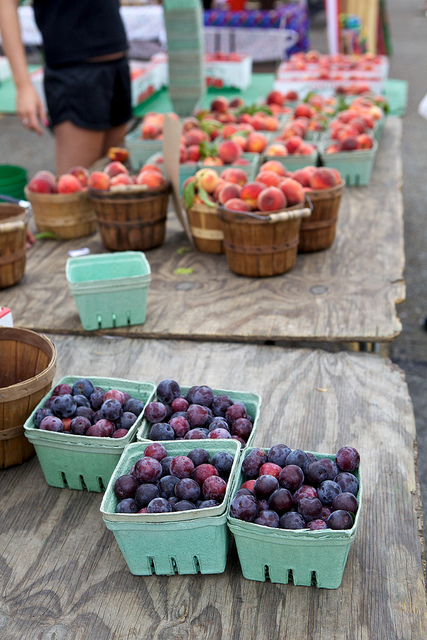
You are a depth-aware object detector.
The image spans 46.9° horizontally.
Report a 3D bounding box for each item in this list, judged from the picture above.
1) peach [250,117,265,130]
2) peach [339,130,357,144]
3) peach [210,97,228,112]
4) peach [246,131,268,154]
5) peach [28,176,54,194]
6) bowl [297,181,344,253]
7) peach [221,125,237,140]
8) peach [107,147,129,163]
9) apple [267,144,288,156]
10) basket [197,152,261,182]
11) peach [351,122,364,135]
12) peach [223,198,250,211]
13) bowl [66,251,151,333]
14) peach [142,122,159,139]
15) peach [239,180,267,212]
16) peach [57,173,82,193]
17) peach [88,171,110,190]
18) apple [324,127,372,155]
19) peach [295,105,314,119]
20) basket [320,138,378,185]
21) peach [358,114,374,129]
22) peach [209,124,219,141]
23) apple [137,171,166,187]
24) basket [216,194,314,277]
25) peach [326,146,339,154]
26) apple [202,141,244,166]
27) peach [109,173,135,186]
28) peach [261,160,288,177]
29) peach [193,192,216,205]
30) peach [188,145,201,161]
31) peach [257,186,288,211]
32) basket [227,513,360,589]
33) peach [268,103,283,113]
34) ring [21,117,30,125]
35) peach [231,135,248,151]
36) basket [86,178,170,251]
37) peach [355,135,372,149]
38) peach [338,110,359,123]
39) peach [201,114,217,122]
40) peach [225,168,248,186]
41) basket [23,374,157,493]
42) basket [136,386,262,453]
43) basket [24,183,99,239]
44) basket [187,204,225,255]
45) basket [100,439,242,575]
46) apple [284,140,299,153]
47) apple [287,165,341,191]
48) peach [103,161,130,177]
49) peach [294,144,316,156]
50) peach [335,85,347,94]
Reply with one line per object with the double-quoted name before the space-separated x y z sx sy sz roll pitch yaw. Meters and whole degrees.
"peach" 0.298 -1.327 3.300 0.084 0.065 0.077 -6 22 -9
"peach" 0.820 -1.131 2.997 0.111 0.085 0.109 -2 30 3
"peach" 0.045 -1.593 3.666 0.117 0.087 0.120 18 57 18
"peach" 0.252 -1.087 2.987 0.144 0.151 0.145 3 33 1
"peach" -0.889 -0.700 2.555 0.126 0.074 0.150 -22 34 -25
"bowl" 0.457 -0.526 2.454 0.302 0.240 0.309 -2 26 1
"peach" 0.095 -1.150 3.072 0.100 0.076 0.101 -9 42 4
"peach" -0.586 -1.029 3.074 0.122 0.088 0.120 10 37 7
"apple" 0.370 -0.981 2.835 0.078 0.082 0.079 -4 16 -13
"basket" 0.098 -0.861 2.722 0.292 0.108 0.234 2 31 7
"peach" 0.913 -1.207 3.097 0.078 0.065 0.085 -4 21 -7
"peach" 0.098 -0.484 2.070 0.085 0.049 0.065 9 8 29
"bowl" -0.389 -0.097 1.856 0.266 0.252 0.338 -5 31 -9
"peach" -0.400 -1.176 3.109 0.097 0.112 0.093 16 -14 -6
"peach" 0.165 -0.539 2.152 0.116 0.138 0.122 -6 64 3
"peach" -0.748 -0.726 2.588 0.128 0.067 0.178 4 32 16
"peach" -0.559 -0.678 2.388 0.102 0.094 0.100 -26 29 -28
"apple" 0.819 -1.135 2.997 0.183 0.075 0.216 -11 27 13
"peach" 0.655 -1.483 3.475 0.098 0.093 0.098 1 31 0
"basket" 0.892 -0.976 3.196 0.304 0.203 0.441 0 14 10
"peach" 1.012 -1.314 3.225 0.101 0.077 0.097 22 53 27
"peach" 0.006 -1.169 3.067 0.053 0.045 0.059 3 13 9
"apple" -0.302 -0.685 2.379 0.101 0.071 0.123 -6 22 -4
"basket" 0.237 -0.399 2.237 0.386 0.323 0.434 -25 32 -32
"peach" 0.715 -1.033 2.969 0.059 0.040 0.056 4 23 8
"apple" 0.064 -0.911 2.682 0.274 0.100 0.108 -26 36 -30
"peach" -0.446 -0.686 2.349 0.086 0.041 0.088 19 38 24
"peach" 0.297 -0.755 2.416 0.115 0.088 0.087 12 23 -1
"peach" -0.041 -0.554 2.311 0.069 0.076 0.072 3 -1 27
"peach" -0.102 -0.951 2.812 0.077 0.056 0.077 7 49 4
"peach" 0.239 -0.494 2.034 0.102 0.100 0.099 -2 2 12
"basket" 0.129 0.455 0.933 0.205 0.150 0.107 14 63 -6
"peach" 0.472 -1.601 3.698 0.097 0.076 0.104 6 27 12
"ring" -1.031 -1.094 2.708 0.040 0.054 0.016 20 54 -3
"peach" 0.166 -1.063 2.915 0.093 0.114 0.094 -1 13 16
"basket" -0.411 -0.584 2.525 0.438 0.350 0.453 -8 35 -11
"peach" 0.901 -1.067 2.927 0.089 0.070 0.067 35 -4 14
"peach" 0.906 -1.381 3.312 0.118 0.092 0.133 -6 25 -10
"peach" -0.029 -1.361 3.283 0.109 0.052 0.110 1 37 2
"peach" 0.120 -0.691 2.359 0.078 0.093 0.104 23 27 23
"basket" -0.301 0.258 1.213 0.251 0.167 0.317 7 24 6
"basket" -0.014 0.239 1.234 0.210 0.084 0.155 3 22 7
"basket" -0.775 -0.550 2.477 0.328 0.215 0.329 -5 30 -8
"basket" 0.018 -0.465 2.472 0.255 0.210 0.258 5 22 28
"basket" -0.065 0.372 1.009 0.232 0.197 0.234 -2 31 8
"apple" 0.464 -1.033 2.923 0.073 0.090 0.074 2 17 4
"apple" 0.476 -0.669 2.378 0.180 0.081 0.176 9 26 42
"peach" -0.487 -0.775 2.485 0.108 0.087 0.107 8 39 13
"peach" 0.528 -0.988 2.848 0.093 0.094 0.085 -21 38 -13
"peach" 1.100 -1.987 4.233 0.082 0.059 0.088 -7 26 -14
